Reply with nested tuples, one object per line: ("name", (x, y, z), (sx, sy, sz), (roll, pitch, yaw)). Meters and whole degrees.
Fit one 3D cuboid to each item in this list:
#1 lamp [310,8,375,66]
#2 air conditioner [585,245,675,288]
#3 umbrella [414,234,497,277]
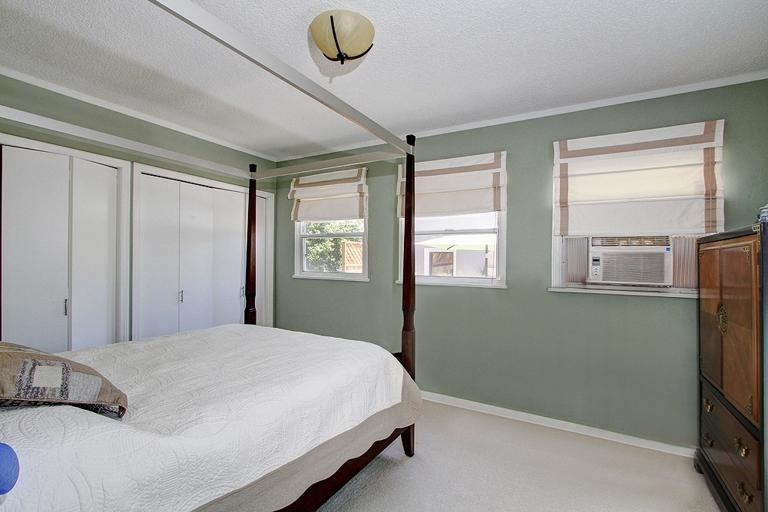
("lamp", (-0.313, -1.651, 3.602), (0.469, 0.328, 0.228), (0, 13, -4))
("air conditioner", (2.440, 0.068, 4.603), (0.488, 0.470, 0.791), (0, 1, -42))
("umbrella", (0.820, -0.004, 5.254), (0.558, 0.333, 0.574), (3, 5, 30))
